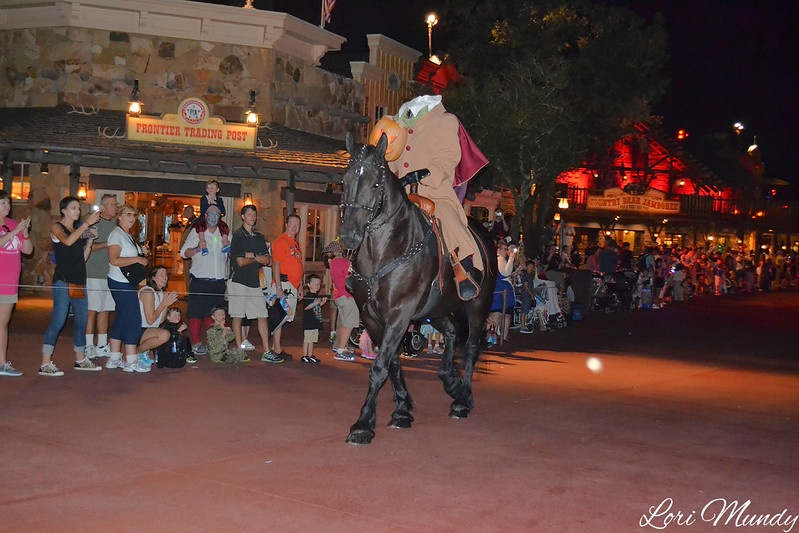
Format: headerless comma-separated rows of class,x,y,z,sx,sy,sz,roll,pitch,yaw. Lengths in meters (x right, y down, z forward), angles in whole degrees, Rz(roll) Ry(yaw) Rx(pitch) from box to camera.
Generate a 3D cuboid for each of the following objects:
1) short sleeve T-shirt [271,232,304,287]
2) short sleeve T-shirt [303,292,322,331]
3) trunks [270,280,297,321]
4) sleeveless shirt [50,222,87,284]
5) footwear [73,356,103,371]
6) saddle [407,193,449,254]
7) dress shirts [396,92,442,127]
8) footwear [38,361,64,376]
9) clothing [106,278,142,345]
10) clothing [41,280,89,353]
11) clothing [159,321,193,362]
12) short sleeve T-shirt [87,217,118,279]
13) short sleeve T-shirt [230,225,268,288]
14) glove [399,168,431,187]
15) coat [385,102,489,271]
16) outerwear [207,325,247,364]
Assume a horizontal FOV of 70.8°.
short sleeve T-shirt,-2.184,-0.119,10.983,0.373,1.046,0.756,4,-1,26
short sleeve T-shirt,-1.688,0.890,10.789,0.330,0.644,0.461,5,-1,-10
trunks,-2.273,0.636,10.853,0.477,0.639,0.358,31,-19,5
sleeveless shirt,-5.239,-0.169,8.907,0.578,1.261,0.461,-6,23,-42
footwear,-5.058,1.562,9.077,0.511,0.232,0.189,2,-1,5
saddle,0.408,-0.598,7.303,0.238,0.756,0.552,-17,5,7
dress shirts,0.230,-2.160,7.753,0.538,0.327,0.418,-28,12,-26
footwear,-5.421,1.578,8.673,0.480,0.217,0.163,2,1,9
clothing,-4.480,0.750,9.099,0.542,1.146,0.358,5,-1,-9
clothing,-5.273,0.813,8.870,0.602,1.308,0.385,11,-24,-43
clothing,-3.941,1.340,9.715,0.460,0.839,0.266,5,-1,-24
short sleeve T-shirt,-5.133,-0.156,9.700,0.329,0.662,0.219,-11,-16,-3
short sleeve T-shirt,-2.907,-0.150,10.847,0.811,1.170,0.616,-1,16,-16
glove,0.191,-1.205,7.522,0.505,0.183,0.160,-23,-30,-15
coat,0.571,-1.317,8.161,1.187,2.267,1.268,-15,22,-16
outerwear,-3.284,1.399,10.743,0.723,0.971,0.691,-1,6,0
